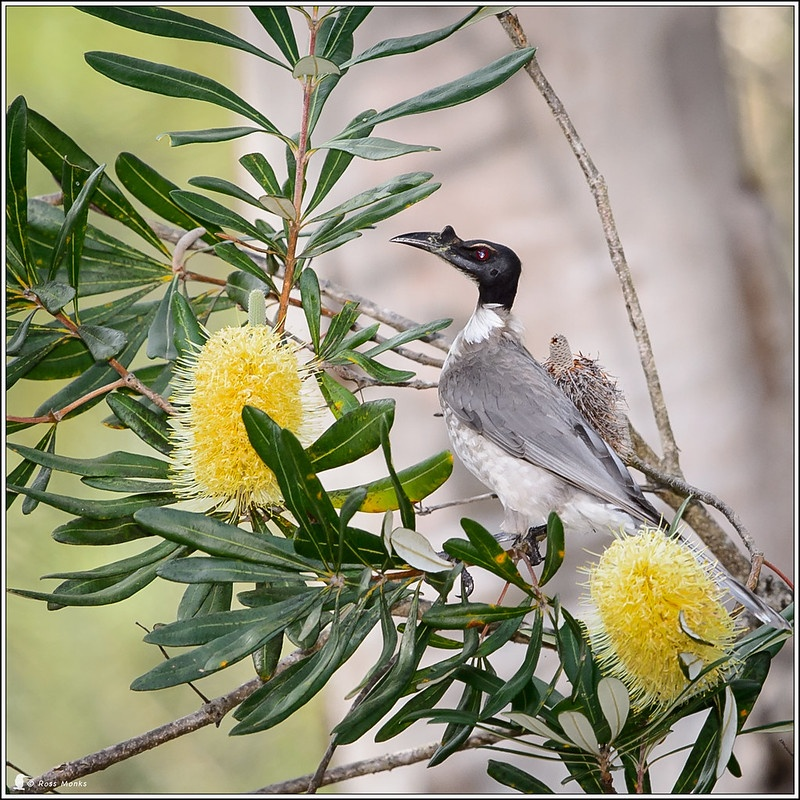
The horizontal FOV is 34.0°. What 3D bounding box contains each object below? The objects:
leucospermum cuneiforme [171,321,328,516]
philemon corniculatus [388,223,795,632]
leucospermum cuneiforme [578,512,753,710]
[{"bbox_3d":[-0.291,0.024,2.306,0.297,0.329,0.295,-11,-15,2],"label":"leucospermum cuneiforme"},{"bbox_3d":[0.411,0.007,3.003,0.656,0.916,0.777,10,17,28],"label":"philemon corniculatus"},{"bbox_3d":[0.437,0.359,2.325,0.287,0.310,0.455,13,22,12],"label":"leucospermum cuneiforme"}]
